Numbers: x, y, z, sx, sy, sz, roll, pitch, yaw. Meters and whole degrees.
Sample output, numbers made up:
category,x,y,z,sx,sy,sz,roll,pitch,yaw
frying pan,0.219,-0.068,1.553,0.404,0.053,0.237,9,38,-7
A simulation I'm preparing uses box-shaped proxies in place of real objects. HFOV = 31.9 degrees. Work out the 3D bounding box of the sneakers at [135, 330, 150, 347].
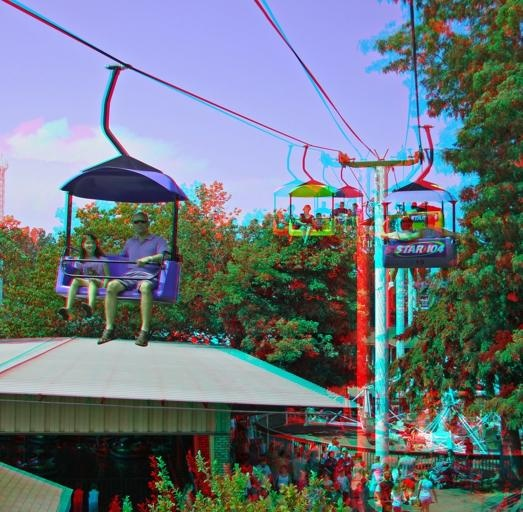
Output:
category,x,y,z,sx,sy,sz,roll,pitch,yaw
sneakers,-2.547,1.762,19.749,0.205,0.218,0.558,5,-16,0
